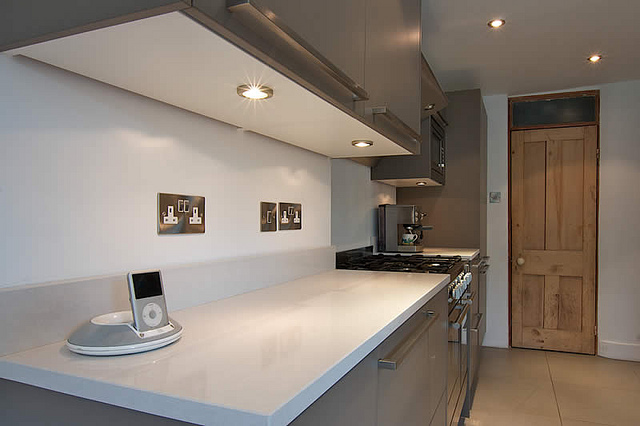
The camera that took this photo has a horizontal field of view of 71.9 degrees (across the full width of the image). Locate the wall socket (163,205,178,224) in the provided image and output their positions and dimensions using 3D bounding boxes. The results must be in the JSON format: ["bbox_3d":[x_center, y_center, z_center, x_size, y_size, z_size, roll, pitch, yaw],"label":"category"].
[{"bbox_3d":[-0.592,0.006,1.733,0.012,0.096,0.071,1,-1,26],"label":"wall socket"}]

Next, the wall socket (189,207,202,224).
[{"bbox_3d":[-0.520,0.010,1.826,0.011,0.093,0.069,2,1,30],"label":"wall socket"}]

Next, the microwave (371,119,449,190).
[{"bbox_3d":[0.854,-0.566,4.068,0.505,0.600,0.940,0,0,23],"label":"microwave"}]

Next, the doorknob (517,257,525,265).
[{"bbox_3d":[2.068,0.497,4.535,0.015,0.066,0.065,8,4,-7],"label":"doorknob"}]

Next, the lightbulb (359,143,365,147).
[{"bbox_3d":[0.232,-0.375,2.426,0.028,0.016,0.073,3,7,5],"label":"lightbulb"}]
